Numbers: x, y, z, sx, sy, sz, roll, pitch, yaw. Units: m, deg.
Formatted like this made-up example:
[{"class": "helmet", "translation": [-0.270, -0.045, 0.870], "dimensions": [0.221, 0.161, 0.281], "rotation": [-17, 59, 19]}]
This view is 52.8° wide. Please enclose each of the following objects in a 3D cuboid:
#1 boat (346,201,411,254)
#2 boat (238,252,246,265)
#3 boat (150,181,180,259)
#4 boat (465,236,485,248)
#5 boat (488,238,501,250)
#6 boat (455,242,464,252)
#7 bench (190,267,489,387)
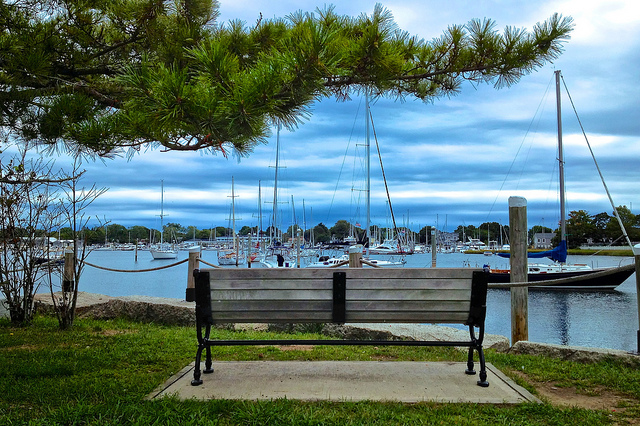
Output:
[{"class": "boat", "translation": [6.118, 1.700, 58.258], "dimensions": [6.153, 6.819, 1.694], "rotation": [8, 33, 34]}, {"class": "boat", "translation": [-6.624, 3.855, 54.696], "dimensions": [0.674, 0.498, 0.932], "rotation": [1, -13, -8]}, {"class": "boat", "translation": [-17.195, 1.052, 73.014], "dimensions": [5.058, 7.988, 1.597], "rotation": [-2, 7, 19]}, {"class": "boat", "translation": [29.125, 5.276, 119.782], "dimensions": [2.119, 1.492, 2.772], "rotation": [0, -5, -25]}, {"class": "boat", "translation": [31.056, 5.846, 114.505], "dimensions": [2.907, 1.561, 4.555], "rotation": [-1, -5, 16]}, {"class": "boat", "translation": [25.888, 6.179, 118.971], "dimensions": [1.123, 1.475, 2.992], "rotation": [0, -7, 3]}, {"class": "bench", "translation": [0.277, 1.521, 9.055], "dimensions": [3.810, 1.589, 1.351], "rotation": [0, 0, -1]}]
